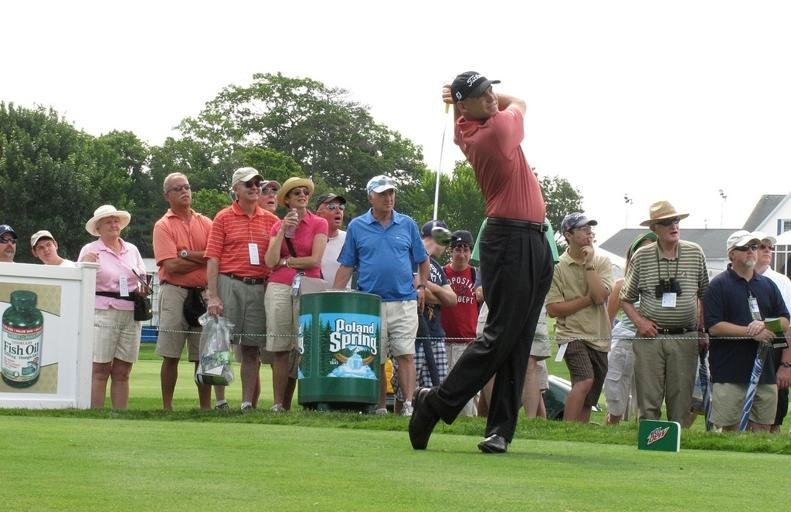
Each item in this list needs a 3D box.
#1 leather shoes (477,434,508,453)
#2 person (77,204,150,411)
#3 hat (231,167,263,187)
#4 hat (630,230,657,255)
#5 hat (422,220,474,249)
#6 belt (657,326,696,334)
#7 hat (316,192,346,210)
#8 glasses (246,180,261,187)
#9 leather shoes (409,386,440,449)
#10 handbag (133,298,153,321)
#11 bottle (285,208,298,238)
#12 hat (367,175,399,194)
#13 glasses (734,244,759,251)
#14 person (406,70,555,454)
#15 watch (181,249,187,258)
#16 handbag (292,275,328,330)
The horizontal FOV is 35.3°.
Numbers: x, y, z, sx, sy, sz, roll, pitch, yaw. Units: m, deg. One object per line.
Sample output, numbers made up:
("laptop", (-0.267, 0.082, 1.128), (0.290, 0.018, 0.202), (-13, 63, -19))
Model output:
("leather shoes", (0.845, 1.625, 10.835), (0.238, 0.087, 0.127), (5, 11, -46))
("person", (-3.354, 0.557, 14.753), (0.819, 2.418, 0.731), (4, -9, -11))
("hat", (-1.782, -0.955, 14.611), (0.234, 0.148, 0.299), (0, -8, -31))
("hat", (2.913, -0.188, 14.837), (0.326, 0.311, 0.245), (11, -2, -43))
("hat", (0.607, -0.183, 11.915), (0.549, 0.244, 0.320), (-2, 26, -10))
("belt", (3.097, 0.811, 13.743), (0.374, 0.089, 0.058), (0, -8, 10))
("hat", (-0.826, -0.718, 15.632), (0.200, 0.152, 0.287), (5, -17, -32))
("glasses", (-1.660, -0.858, 14.510), (0.100, 0.031, 0.097), (4, -38, -28))
("leather shoes", (0.237, 1.401, 10.960), (0.273, 0.566, 0.207), (-5, -10, 41))
("handbag", (-2.993, 0.617, 14.710), (0.106, 0.247, 0.299), (2, 1, 36))
("bottle", (-1.190, -0.393, 14.288), (0.148, 0.323, 0.292), (3, -8, -4))
("hat", (-0.170, -0.849, 14.323), (0.317, 0.214, 0.391), (2, -11, -15))
("glasses", (3.889, -0.105, 13.857), (0.271, 0.094, 0.139), (1, -8, 8))
("person", (0.822, 0.044, 10.946), (1.107, 3.301, 0.718), (1, -8, 5))
("watch", (-2.459, -0.040, 14.484), (0.095, 0.059, 0.087), (-32, 16, -17))
("handbag", (-1.000, 0.478, 14.141), (0.365, 0.577, 0.652), (1, -8, 5))
